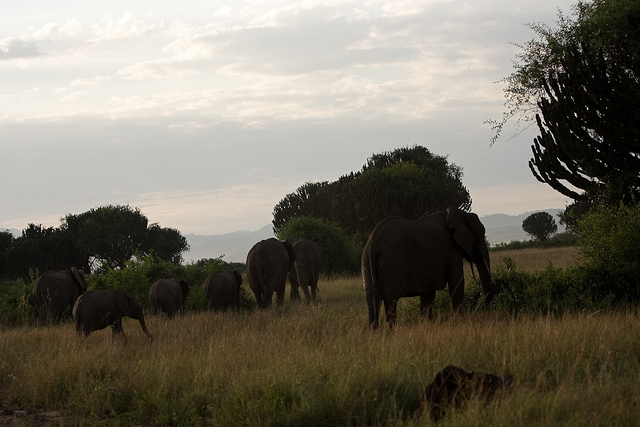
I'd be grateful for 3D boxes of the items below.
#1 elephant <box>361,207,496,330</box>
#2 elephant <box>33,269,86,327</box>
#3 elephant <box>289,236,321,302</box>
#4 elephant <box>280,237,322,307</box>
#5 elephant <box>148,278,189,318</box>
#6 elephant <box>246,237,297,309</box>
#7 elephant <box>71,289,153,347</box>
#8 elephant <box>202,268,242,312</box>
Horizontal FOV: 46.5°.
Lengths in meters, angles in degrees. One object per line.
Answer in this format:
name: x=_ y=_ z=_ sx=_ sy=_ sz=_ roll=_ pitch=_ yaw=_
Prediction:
elephant: x=2.936 y=1.455 z=19.607 sx=3.726 sy=3.225 sz=1.733 roll=-4 pitch=0 yaw=-21
elephant: x=-8.001 y=2.616 z=23.161 sx=1.076 sy=1.789 sz=2.974 roll=-1 pitch=-2 yaw=8
elephant: x=-0.641 y=2.104 z=28.870 sx=1.341 sy=2.346 sz=4.114 roll=-3 pitch=3 yaw=-7
elephant: x=-0.635 y=2.144 z=28.733 sx=1.549 sy=2.423 sz=3.855 roll=-1 pitch=3 yaw=-12
elephant: x=-4.774 y=2.760 z=23.798 sx=0.863 sy=1.415 sz=2.302 roll=-3 pitch=-4 yaw=14
elephant: x=-1.649 y=1.952 z=26.096 sx=1.297 sy=2.235 sz=3.658 roll=-3 pitch=4 yaw=21
elephant: x=-5.635 y=2.864 z=20.275 sx=2.078 sy=1.481 sz=0.939 roll=-1 pitch=0 yaw=-30
elephant: x=-3.215 y=2.592 z=24.776 sx=0.901 sy=1.498 sz=2.428 roll=2 pitch=5 yaw=19
